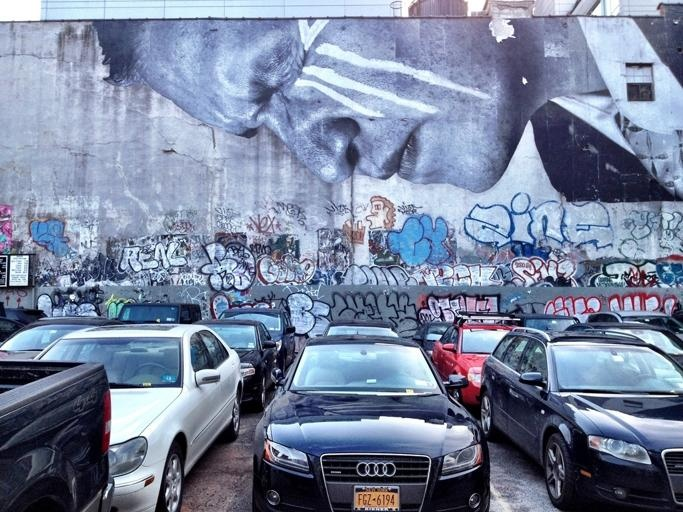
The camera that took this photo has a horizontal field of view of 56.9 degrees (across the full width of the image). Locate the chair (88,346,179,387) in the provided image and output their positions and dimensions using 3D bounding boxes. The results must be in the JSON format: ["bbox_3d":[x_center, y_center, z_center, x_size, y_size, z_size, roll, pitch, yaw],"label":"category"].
[{"bbox_3d":[-2.696,1.447,8.372,1.102,0.366,0.692,-3,2,-13],"label":"chair"}]

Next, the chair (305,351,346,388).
[{"bbox_3d":[-0.226,1.539,8.413,0.307,0.417,0.492,0,39,1],"label":"chair"}]
